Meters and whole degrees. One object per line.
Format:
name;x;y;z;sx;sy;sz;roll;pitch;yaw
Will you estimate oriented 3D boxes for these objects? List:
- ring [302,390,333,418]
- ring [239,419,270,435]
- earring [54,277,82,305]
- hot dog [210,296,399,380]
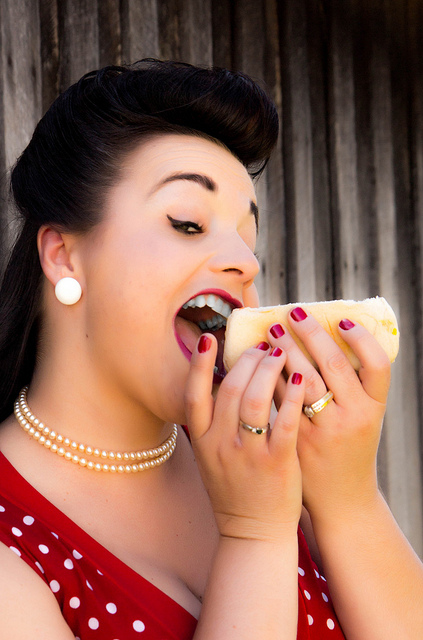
ring;0.209;0.169;1.372;0.053;0.021;0.046;-37;-10;15
ring;0.080;0.202;1.310;0.052;0.027;0.026;3;0;-5
earring;-0.306;-0.061;1.456;0.057;0.054;0.011;5;-1;4
hot dog;0.190;0.065;1.454;0.386;0.109;0.171;-5;29;-6
